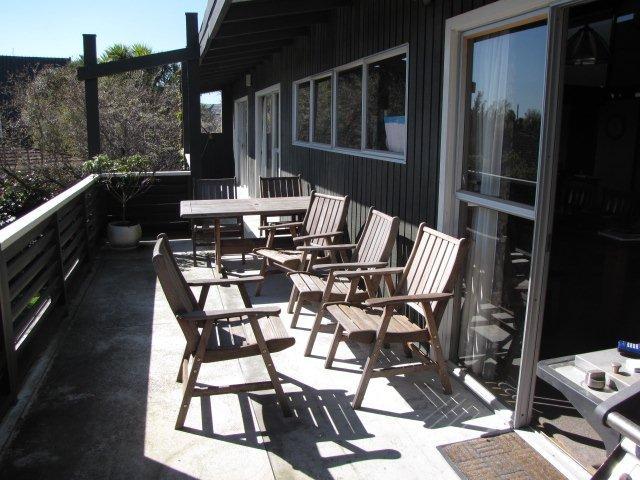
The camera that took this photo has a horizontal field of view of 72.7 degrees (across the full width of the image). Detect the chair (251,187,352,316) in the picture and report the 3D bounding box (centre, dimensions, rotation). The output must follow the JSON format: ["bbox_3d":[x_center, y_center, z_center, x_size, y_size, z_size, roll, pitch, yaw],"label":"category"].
[{"bbox_3d":[-0.185,0.050,5.159,1.083,1.568,1.094,-6,13,-31],"label":"chair"}]

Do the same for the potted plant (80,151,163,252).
[{"bbox_3d":[-3.132,-0.638,6.820,0.922,1.335,1.052,-1,13,-10],"label":"potted plant"}]

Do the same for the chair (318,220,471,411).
[{"bbox_3d":[0.559,0.475,3.325,1.026,1.186,0.974,-3,13,-17],"label":"chair"}]

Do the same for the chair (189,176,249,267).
[{"bbox_3d":[-1.394,-0.217,6.317,0.865,1.290,0.876,-3,12,-26],"label":"chair"}]

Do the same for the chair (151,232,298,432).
[{"bbox_3d":[-0.575,0.638,3.296,1.039,1.464,1.092,-3,13,-11],"label":"chair"}]

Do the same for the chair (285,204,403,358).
[{"bbox_3d":[0.183,0.339,3.951,0.827,1.213,0.900,1,10,-5],"label":"chair"}]
